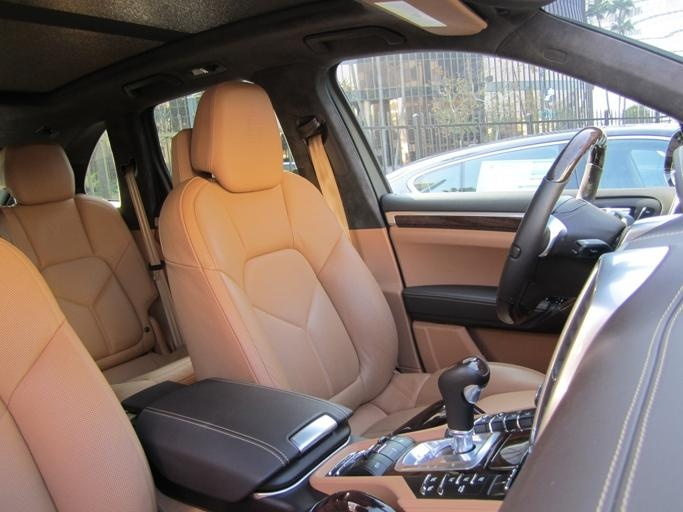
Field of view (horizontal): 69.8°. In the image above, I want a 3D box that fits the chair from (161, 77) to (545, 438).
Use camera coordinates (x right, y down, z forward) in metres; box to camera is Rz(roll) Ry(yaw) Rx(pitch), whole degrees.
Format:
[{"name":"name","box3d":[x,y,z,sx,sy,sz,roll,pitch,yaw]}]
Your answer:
[{"name":"chair","box3d":[-0.090,-0.023,1.960,1.322,1.403,0.881,-2,12,25]}]
